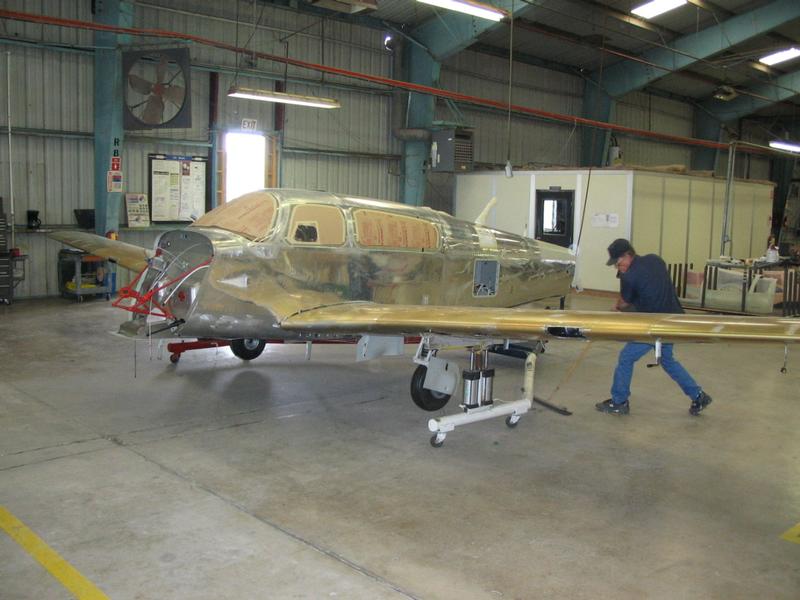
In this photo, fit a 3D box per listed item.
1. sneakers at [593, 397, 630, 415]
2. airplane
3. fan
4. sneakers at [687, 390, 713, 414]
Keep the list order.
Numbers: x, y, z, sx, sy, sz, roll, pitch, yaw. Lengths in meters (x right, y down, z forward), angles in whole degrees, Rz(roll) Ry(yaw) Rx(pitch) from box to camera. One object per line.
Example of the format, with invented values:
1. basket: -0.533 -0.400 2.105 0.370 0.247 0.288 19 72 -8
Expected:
1. sneakers: 2.274 1.149 6.788 0.360 0.142 0.144 5 3 34
2. airplane: -0.107 -0.299 6.880 5.297 1.736 4.169 2 11 1
3. fan: -4.894 -4.282 12.533 1.270 1.761 1.589 -3 13 -22
4. sneakers: 3.233 1.108 6.681 0.159 0.135 0.370 27 -21 4
